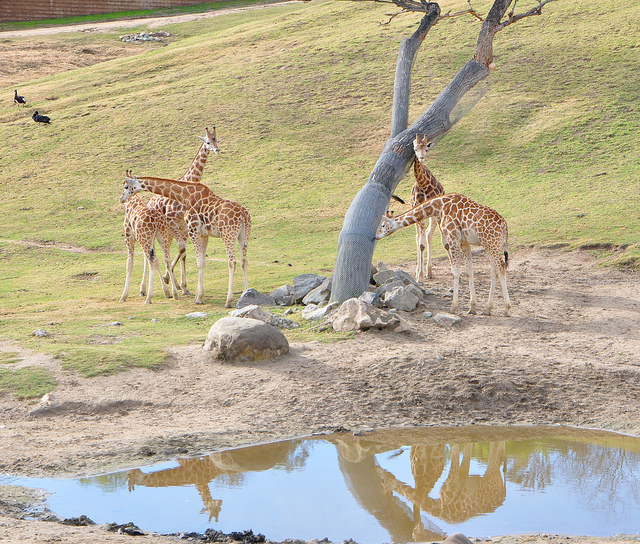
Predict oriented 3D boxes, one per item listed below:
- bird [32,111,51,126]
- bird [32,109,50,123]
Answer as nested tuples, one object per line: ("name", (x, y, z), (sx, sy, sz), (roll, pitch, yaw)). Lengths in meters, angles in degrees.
("bird", (-14.114, -7.791, 72.162), (0.797, 0.712, 1.277), (-1, 4, -12))
("bird", (-14.146, -7.831, 71.916), (1.015, 0.501, 0.637), (5, 6, 44))
